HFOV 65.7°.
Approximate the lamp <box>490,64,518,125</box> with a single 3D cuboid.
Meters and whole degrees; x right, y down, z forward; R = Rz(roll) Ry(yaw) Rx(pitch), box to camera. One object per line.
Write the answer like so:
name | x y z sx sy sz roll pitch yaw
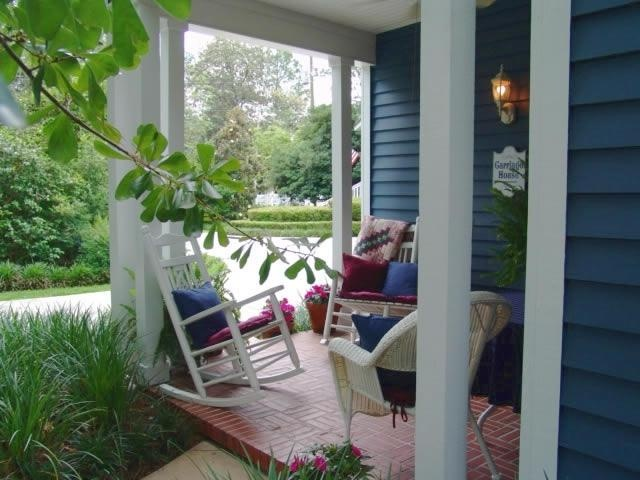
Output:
lamp | 1.830 -1.456 4.961 0.238 0.585 0.215 4 5 42
